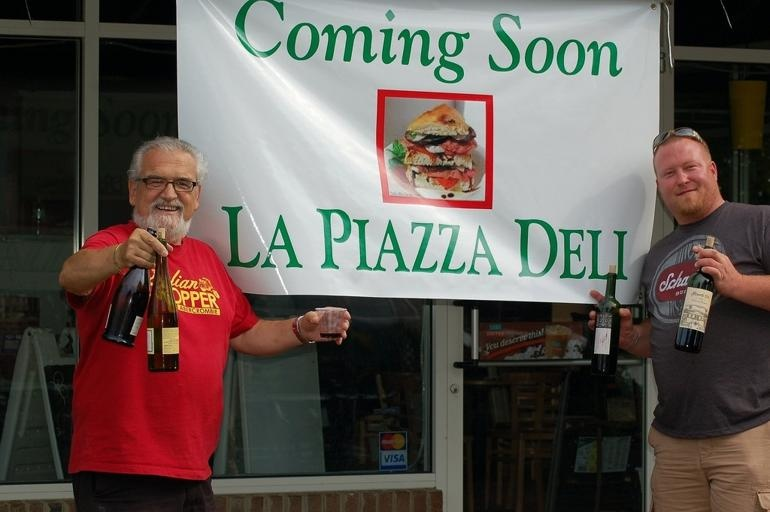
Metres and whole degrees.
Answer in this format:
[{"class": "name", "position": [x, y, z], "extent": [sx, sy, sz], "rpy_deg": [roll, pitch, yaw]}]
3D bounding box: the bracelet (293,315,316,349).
[{"class": "bracelet", "position": [-0.483, 0.425, 6.298], "extent": [0.128, 0.160, 0.068], "rpy_deg": [16, -31, -26]}]

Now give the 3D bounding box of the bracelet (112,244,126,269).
[{"class": "bracelet", "position": [-1.369, -0.001, 5.691], "extent": [0.067, 0.113, 0.047], "rpy_deg": [-10, -16, 33]}]

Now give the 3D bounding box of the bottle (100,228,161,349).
[{"class": "bottle", "position": [-1.364, 0.266, 5.836], "extent": [0.233, 0.433, 0.116], "rpy_deg": [4, -14, -18]}]

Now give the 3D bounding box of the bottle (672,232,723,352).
[{"class": "bottle", "position": [1.706, 0.200, 6.036], "extent": [0.261, 0.632, 0.313], "rpy_deg": [-5, -14, 15]}]

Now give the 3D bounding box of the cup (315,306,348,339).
[{"class": "cup", "position": [-0.300, 0.373, 6.173], "extent": [0.154, 0.148, 0.159], "rpy_deg": [1, -8, 0]}]
